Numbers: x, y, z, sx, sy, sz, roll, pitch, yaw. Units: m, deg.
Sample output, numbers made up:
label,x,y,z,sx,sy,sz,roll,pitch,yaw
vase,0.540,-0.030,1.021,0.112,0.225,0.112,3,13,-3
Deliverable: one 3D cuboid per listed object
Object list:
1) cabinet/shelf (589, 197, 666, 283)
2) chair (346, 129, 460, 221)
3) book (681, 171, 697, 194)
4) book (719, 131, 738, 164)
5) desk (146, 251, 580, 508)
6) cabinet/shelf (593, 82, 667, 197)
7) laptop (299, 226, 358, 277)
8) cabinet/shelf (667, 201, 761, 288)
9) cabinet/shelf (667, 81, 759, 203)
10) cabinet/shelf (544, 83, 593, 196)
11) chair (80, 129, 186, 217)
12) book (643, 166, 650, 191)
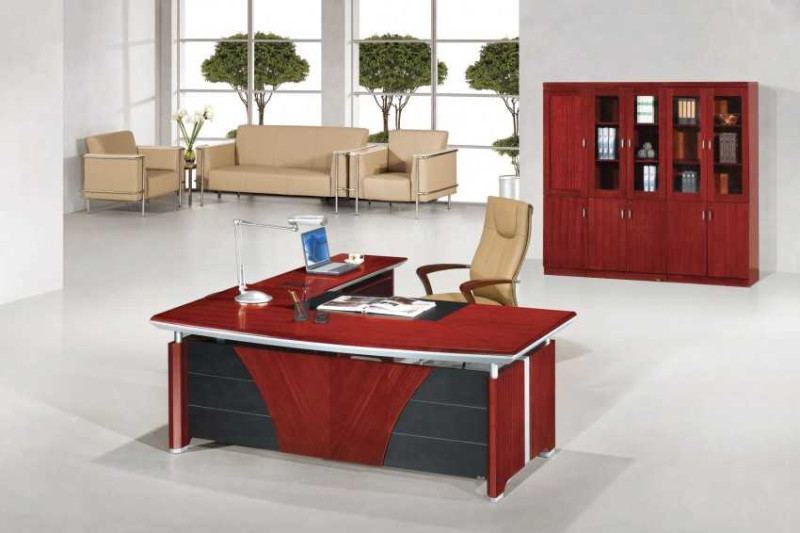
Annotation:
label,x,y,z,sx,sy,sz,roll,pitch,yaw
cabinet/shelf,2.842,-0.352,7.564,1.027,0.974,0.357,2,9,23
chair,0.189,-1.774,11.845,1.783,1.500,1.771,4,9,29
book,3.399,-1.001,7.325,0.233,0.296,0.245,1,9,16
book,3.796,-1.357,7.122,0.232,0.349,0.092,7,17,25
desk,-0.189,0.646,3.778,2.261,0.946,1.047,5,16,19
cabinet/shelf,2.790,-1.514,7.473,0.824,1.239,0.269,4,16,16
laptop,-0.549,-0.084,4.778,0.381,0.320,0.457,2,8,16
cabinet/shelf,3.941,-0.295,7.607,0.566,0.920,1.007,-7,7,-37
cabinet/shelf,3.525,-1.342,7.182,0.873,1.416,0.480,4,-11,6
cabinet/shelf,2.072,-1.551,7.666,0.538,1.298,0.260,3,16,11
chair,-5.101,-1.791,11.631,1.403,1.396,1.316,5,16,17
book,2.983,-1.068,7.444,0.096,0.247,0.266,0,9,13
